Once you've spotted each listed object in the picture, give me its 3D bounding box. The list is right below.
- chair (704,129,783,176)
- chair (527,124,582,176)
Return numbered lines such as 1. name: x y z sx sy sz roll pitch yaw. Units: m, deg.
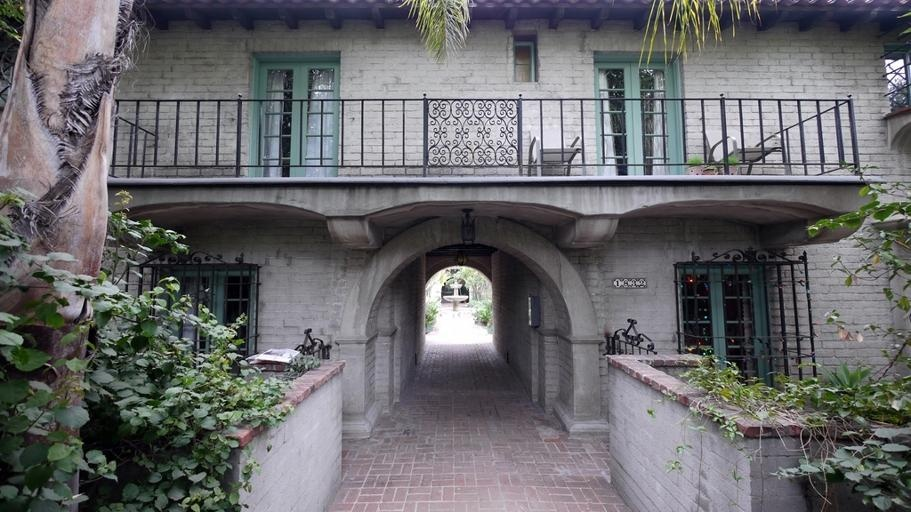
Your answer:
1. chair: 4.827 -1.739 11.147 1.012 0.532 0.715 -5 11 -3
2. chair: 1.676 -1.722 10.939 0.791 0.749 0.936 0 0 -9
